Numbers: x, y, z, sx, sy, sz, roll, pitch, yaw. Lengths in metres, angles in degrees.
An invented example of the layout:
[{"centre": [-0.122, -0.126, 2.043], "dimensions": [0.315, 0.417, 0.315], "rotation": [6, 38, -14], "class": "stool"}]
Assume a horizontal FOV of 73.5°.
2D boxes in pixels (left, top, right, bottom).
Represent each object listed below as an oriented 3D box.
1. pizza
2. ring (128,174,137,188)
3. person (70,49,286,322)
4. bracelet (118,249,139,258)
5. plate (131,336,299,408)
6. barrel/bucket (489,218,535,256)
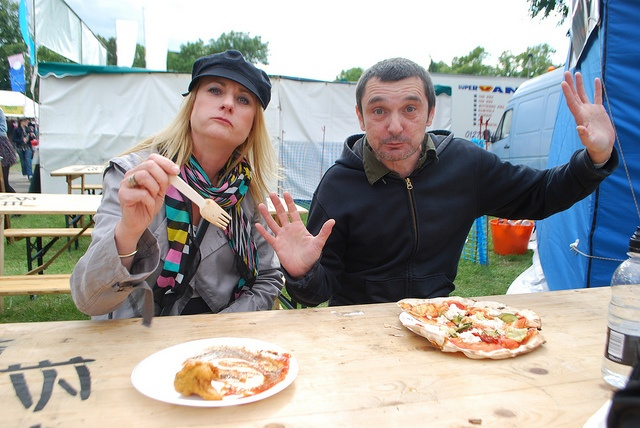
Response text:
[{"centre": [0.818, 0.603, 2.285], "dimensions": [0.401, 0.073, 0.379], "rotation": [-2, 14, -20], "class": "pizza"}, {"centre": [-0.980, -0.167, 2.248], "dimensions": [0.020, 0.056, 0.056], "rotation": [-7, -9, -14], "class": "ring"}, {"centre": [-0.937, -0.007, 2.857], "dimensions": [1.121, 2.035, 0.982], "rotation": [2, 5, 44], "class": "person"}, {"centre": [-1.045, 0.216, 2.331], "dimensions": [0.095, 0.043, 0.043], "rotation": [-3, 7, -31], "class": "bracelet"}, {"centre": [-0.478, 0.735, 1.985], "dimensions": [0.741, 0.182, 0.402], "rotation": [0, 6, -2], "class": "plate"}, {"centre": [3.323, 0.408, 7.662], "dimensions": [0.728, 0.808, 1.010], "rotation": [-1, -4, 11], "class": "barrel/bucket"}]
